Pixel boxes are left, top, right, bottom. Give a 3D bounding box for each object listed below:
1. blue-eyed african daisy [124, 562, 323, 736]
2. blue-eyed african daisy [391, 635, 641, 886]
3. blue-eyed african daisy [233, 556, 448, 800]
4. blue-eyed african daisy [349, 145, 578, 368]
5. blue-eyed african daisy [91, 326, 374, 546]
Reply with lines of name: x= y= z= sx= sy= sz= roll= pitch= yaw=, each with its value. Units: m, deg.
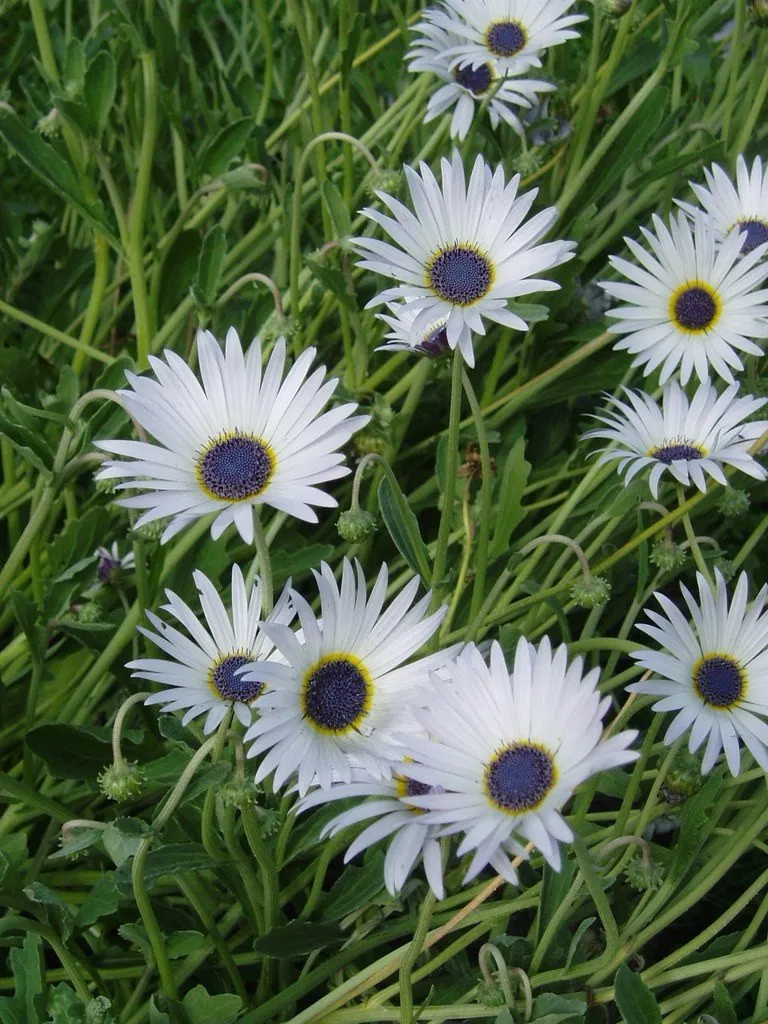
blue-eyed african daisy: x=-0.119 y=0.122 z=0.741 sx=0.158 sy=0.162 sz=0.069 roll=-16 pitch=-32 yaw=28
blue-eyed african daisy: x=0.075 y=0.130 z=0.500 sx=0.138 sy=0.145 sz=0.056 roll=-26 pitch=-44 yaw=35
blue-eyed african daisy: x=-0.023 y=0.090 z=0.547 sx=0.153 sy=0.151 sz=0.056 roll=4 pitch=-29 yaw=-9
blue-eyed african daisy: x=0.069 y=-0.210 z=0.769 sx=0.166 sy=0.065 sz=0.166 roll=-11 pitch=-36 yaw=41
blue-eyed african daisy: x=-0.107 y=-0.050 z=0.657 sx=0.165 sy=0.067 sz=0.175 roll=9 pitch=-40 yaw=-33
